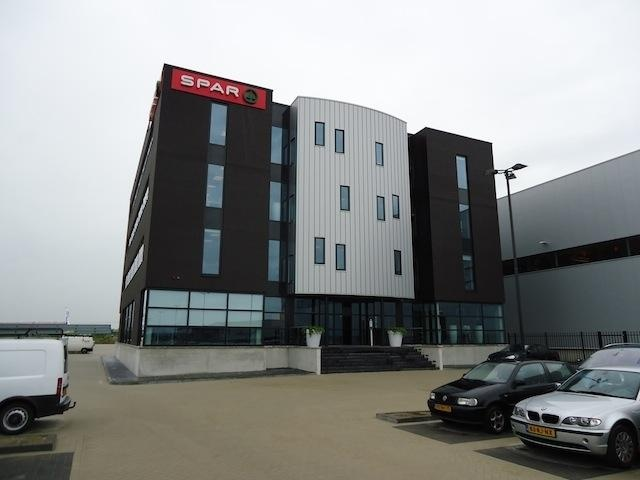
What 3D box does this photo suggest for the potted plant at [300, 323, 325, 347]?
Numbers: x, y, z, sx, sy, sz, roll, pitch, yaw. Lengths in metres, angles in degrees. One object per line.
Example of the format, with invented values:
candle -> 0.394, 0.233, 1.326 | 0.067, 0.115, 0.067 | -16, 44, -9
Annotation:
potted plant -> -0.355, 5.677, 25.152 | 1.167, 1.420, 1.224 | 7, -9, -27

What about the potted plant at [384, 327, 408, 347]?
potted plant -> 5.015, 6.344, 27.325 | 1.065, 1.022, 1.155 | 2, -11, -5
